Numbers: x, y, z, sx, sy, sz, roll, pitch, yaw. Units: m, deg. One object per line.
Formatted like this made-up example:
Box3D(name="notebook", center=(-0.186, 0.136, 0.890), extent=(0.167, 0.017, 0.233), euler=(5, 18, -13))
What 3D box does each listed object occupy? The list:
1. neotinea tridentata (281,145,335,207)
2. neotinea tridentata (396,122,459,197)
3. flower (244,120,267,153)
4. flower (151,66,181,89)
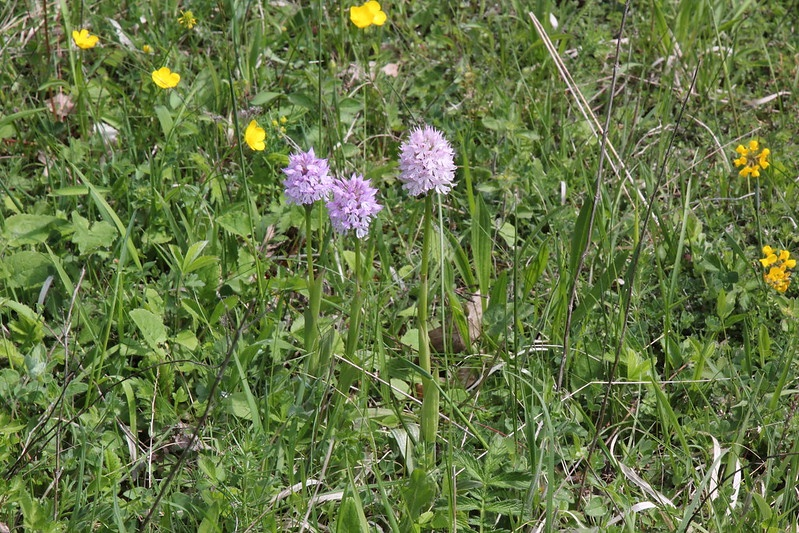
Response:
Box3D(name="neotinea tridentata", center=(-0.388, -0.361, 3.395), extent=(0.209, 0.346, 0.232), euler=(-3, 35, -6))
Box3D(name="neotinea tridentata", center=(0.110, -0.400, 3.136), extent=(0.213, 0.317, 0.222), euler=(0, 35, 0))
Box3D(name="flower", center=(-0.743, -0.697, 4.086), extent=(0.100, 0.170, 0.321), euler=(-6, 39, -10))
Box3D(name="flower", center=(-1.218, -0.969, 4.117), extent=(0.126, 0.094, 0.156), euler=(-20, 42, -25))
